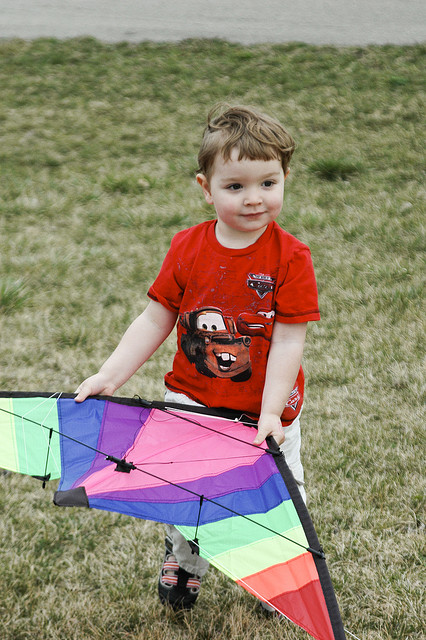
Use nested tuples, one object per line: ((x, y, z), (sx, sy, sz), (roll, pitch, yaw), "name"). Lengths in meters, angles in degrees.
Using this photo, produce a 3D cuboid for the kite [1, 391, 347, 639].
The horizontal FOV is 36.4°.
((-0.116, 0.391, 1.555), (1.001, 0.251, 0.442), (9, 19, 21), "kite")
